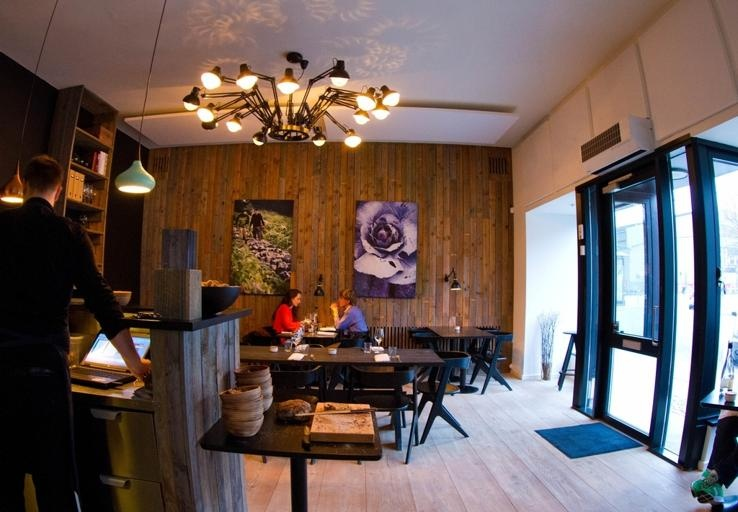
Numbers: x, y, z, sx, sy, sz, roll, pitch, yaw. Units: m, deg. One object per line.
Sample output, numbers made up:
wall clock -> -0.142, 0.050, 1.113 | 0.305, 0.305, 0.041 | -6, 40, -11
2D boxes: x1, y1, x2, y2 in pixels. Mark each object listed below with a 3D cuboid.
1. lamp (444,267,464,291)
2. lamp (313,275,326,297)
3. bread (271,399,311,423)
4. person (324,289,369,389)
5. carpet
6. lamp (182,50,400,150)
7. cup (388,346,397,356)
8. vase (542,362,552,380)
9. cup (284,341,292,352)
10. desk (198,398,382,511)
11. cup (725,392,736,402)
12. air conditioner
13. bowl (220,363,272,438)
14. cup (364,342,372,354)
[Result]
lamp -> 1.382, 0.419, 8.175 | 0.225, 0.421, 0.355 | 5, -13, -20
lamp -> -0.811, 0.512, 8.065 | 0.163, 0.375, 0.340 | -1, 9, -4
bread -> -0.573, 1.185, 3.763 | 0.192, 0.088, 0.157 | 2, 1, -18
person -> -0.318, 1.318, 7.469 | 0.497, 1.513, 0.500 | 9, 9, 12
carpet -> 2.550, 2.140, 5.765 | 1.022, 0.035, 0.664 | -2, 10, -15
lamp -> -1.088, -1.901, 6.085 | 2.113, 1.079, 2.633 | -3, 10, -19
cup -> 0.285, 1.137, 5.834 | 0.075, 0.089, 0.076 | 0, -10, 0
vase -> 2.850, 1.844, 7.868 | 0.164, 0.292, 0.136 | -1, 9, -6
cup -> -1.004, 1.138, 6.136 | 0.090, 0.111, 0.095 | 1, -5, 0
desk -> -0.547, 1.382, 3.570 | 0.862, 0.921, 0.908 | 2, -3, 0
cup -> 3.317, 1.304, 4.529 | 0.074, 0.058, 0.077 | 1, -3, 0
air conditioner -> 2.909, -1.276, 5.923 | 0.277, 0.388, 0.760 | 5, -13, -18
bowl -> -0.895, 1.084, 3.648 | 0.305, 0.343, 0.481 | 1, -6, -1
cup -> -0.014, 1.112, 5.926 | 0.090, 0.113, 0.095 | 1, -2, 0
